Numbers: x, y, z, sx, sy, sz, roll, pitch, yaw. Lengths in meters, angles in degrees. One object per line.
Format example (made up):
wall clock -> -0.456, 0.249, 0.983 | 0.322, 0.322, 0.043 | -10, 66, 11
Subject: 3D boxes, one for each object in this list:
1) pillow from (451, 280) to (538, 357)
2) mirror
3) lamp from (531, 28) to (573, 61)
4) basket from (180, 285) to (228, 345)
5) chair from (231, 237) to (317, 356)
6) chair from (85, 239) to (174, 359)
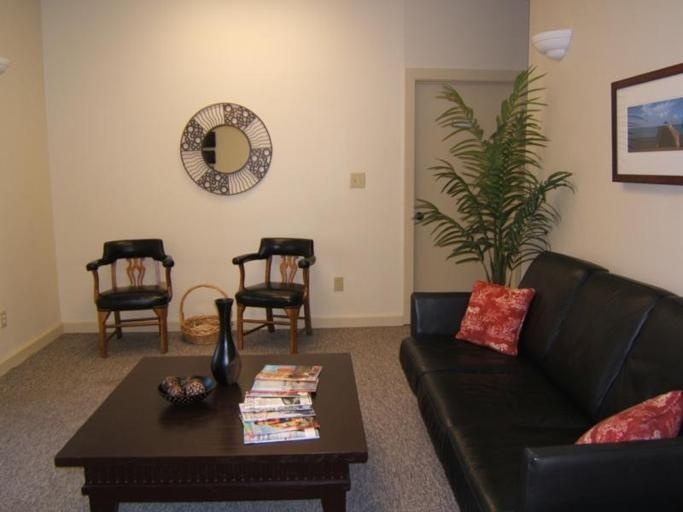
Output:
pillow -> 0.969, 0.388, 3.289 | 0.131, 0.426, 0.428 | 21, -6, -38
mirror -> -1.070, -0.997, 4.677 | 0.573, 0.620, 0.027 | -22, 13, -2
lamp -> 1.254, -1.261, 3.125 | 0.204, 0.166, 0.188 | 2, 11, 20
basket -> -1.268, 0.530, 4.720 | 0.502, 0.664, 0.479 | 0, -5, -13
chair -> -0.569, 0.324, 4.491 | 0.649, 0.934, 0.615 | 3, 9, 21
chair -> -1.772, 0.347, 4.432 | 0.649, 0.948, 0.591 | 0, 9, -5
